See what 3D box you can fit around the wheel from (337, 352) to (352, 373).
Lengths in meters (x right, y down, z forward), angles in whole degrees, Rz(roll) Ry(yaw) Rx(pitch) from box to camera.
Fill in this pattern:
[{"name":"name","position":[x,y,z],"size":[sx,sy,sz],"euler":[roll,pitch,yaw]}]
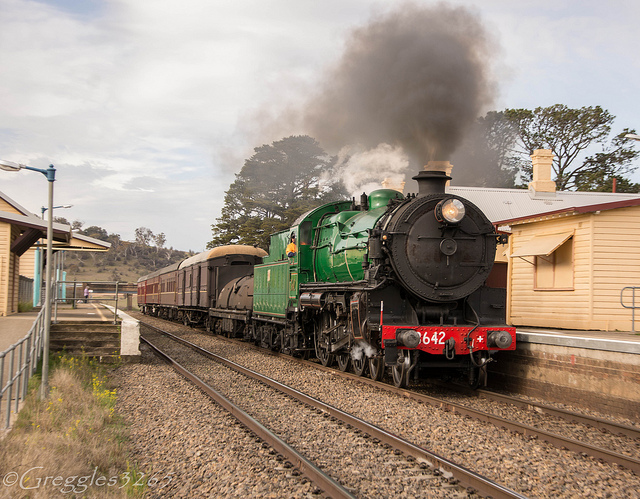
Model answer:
[{"name":"wheel","position":[0.655,2.918,11.999],"size":[0.348,0.488,0.555],"euler":[2,-6,-6]}]

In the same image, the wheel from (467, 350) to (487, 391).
[{"name":"wheel","position":[3.311,2.558,9.805],"size":[0.371,0.833,0.564],"euler":[-1,-6,20]}]

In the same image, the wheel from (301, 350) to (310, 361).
[{"name":"wheel","position":[-0.459,3.208,14.058],"size":[0.214,0.411,0.406],"euler":[-1,2,-11]}]

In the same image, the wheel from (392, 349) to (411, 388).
[{"name":"wheel","position":[1.721,2.528,9.881],"size":[0.246,0.830,0.782],"euler":[1,-6,-1]}]

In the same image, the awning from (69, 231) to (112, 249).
[{"name":"awning","position":[-11.760,-0.351,23.875],"size":[1.863,0.624,1.397],"euler":[-1,-3,-3]}]

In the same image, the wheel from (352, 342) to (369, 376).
[{"name":"wheel","position":[0.969,2.632,11.097],"size":[0.400,0.880,1.334],"euler":[1,-6,4]}]

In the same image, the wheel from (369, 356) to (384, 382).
[{"name":"wheel","position":[1.289,2.722,10.515],"size":[0.256,0.533,0.578],"euler":[2,-6,-7]}]

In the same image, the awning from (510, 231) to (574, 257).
[{"name":"awning","position":[7.329,-0.166,15.205],"size":[0.690,0.402,1.526],"euler":[-28,0,-18]}]
